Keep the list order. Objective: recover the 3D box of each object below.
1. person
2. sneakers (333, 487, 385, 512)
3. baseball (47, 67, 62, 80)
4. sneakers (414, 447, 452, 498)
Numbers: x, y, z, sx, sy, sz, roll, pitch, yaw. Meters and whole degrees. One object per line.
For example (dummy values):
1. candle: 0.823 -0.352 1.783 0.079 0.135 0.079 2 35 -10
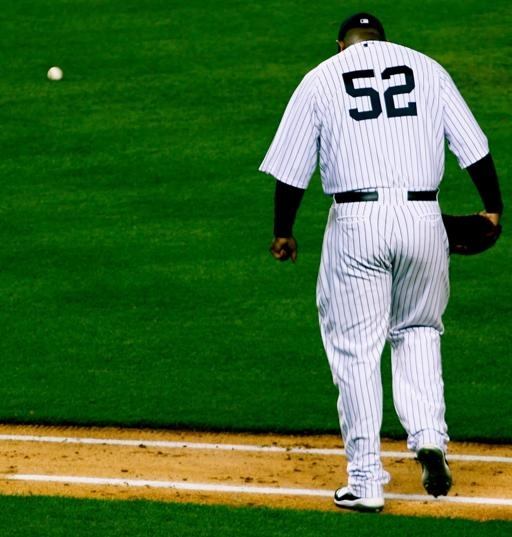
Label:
1. person: 0.628 0.034 8.663 1.203 2.378 0.688 0 9 8
2. sneakers: 0.514 1.190 8.592 0.271 0.135 0.104 3 3 42
3. baseball: -1.577 -1.502 12.900 0.125 0.106 0.132 6 12 35
4. sneakers: 0.898 1.043 8.455 0.112 0.326 0.135 -3 34 6
